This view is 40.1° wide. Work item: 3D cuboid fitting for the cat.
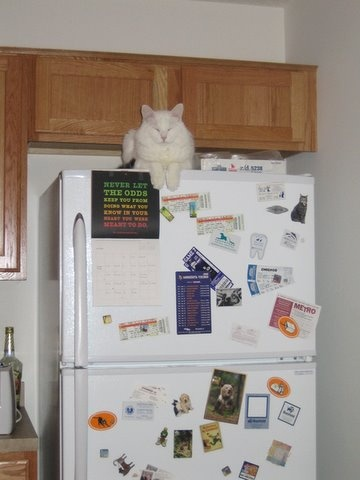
[{"bbox_3d":[-0.060,-0.272,1.406,0.173,0.175,0.298,1,18,0],"label":"cat"}]
